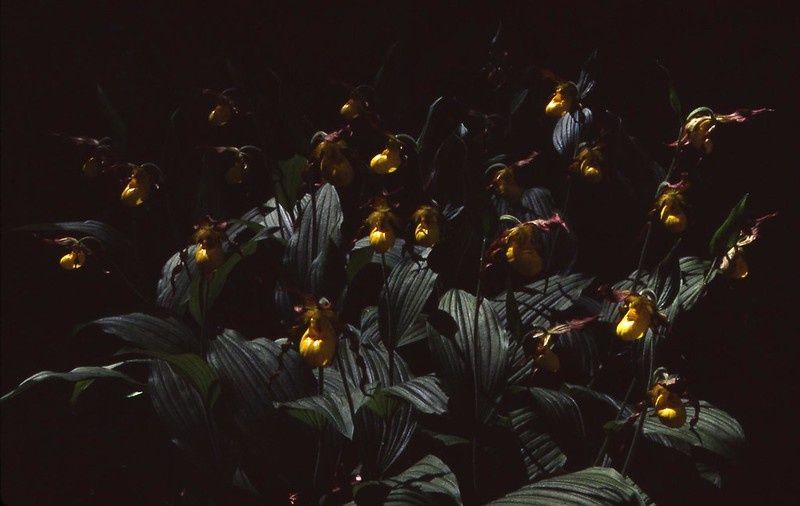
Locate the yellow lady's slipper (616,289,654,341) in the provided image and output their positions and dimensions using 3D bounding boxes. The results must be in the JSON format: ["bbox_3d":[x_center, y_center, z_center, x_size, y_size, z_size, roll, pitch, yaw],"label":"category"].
[{"bbox_3d":[1.125,0.302,3.530,0.163,0.228,0.103,17,8,27],"label":"yellow lady's slipper"}]

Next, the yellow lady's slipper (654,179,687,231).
[{"bbox_3d":[1.355,-0.232,3.728,0.171,0.234,0.097,-7,3,0],"label":"yellow lady's slipper"}]

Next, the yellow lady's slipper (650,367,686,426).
[{"bbox_3d":[1.332,0.728,3.668,0.189,0.145,0.299,0,45,18],"label":"yellow lady's slipper"}]

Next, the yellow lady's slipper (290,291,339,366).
[{"bbox_3d":[-0.381,0.344,3.323,0.223,0.308,0.136,-7,2,6],"label":"yellow lady's slipper"}]

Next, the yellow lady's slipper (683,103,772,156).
[{"bbox_3d":[1.604,-0.622,3.676,0.417,0.231,0.211,-5,26,28],"label":"yellow lady's slipper"}]
